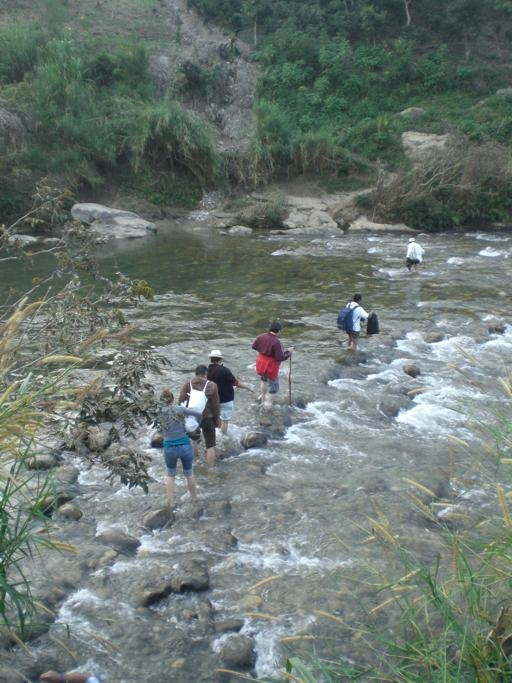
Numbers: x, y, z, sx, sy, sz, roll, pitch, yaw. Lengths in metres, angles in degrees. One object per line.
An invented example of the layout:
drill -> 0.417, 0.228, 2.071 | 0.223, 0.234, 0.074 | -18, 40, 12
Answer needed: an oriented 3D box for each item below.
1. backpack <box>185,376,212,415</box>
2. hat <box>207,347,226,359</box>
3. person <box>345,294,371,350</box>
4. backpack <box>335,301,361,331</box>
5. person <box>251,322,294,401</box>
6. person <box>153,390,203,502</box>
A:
backpack -> -0.680, 0.629, 8.679 | 0.332, 0.272, 0.502 | 8, 41, 8
hat -> -0.533, 0.124, 9.647 | 0.192, 0.086, 0.209 | 2, -18, 0
person -> 1.726, -0.301, 12.980 | 0.444, 1.059, 0.428 | 15, 19, 38
backpack -> 1.529, -0.450, 12.889 | 0.473, 0.474, 0.320 | -9, 24, -24
person -> 0.192, 0.307, 10.778 | 0.331, 1.212, 0.551 | -14, 18, -36
person -> -0.824, 1.123, 8.232 | 0.445, 1.352, 1.233 | -5, 14, -6
